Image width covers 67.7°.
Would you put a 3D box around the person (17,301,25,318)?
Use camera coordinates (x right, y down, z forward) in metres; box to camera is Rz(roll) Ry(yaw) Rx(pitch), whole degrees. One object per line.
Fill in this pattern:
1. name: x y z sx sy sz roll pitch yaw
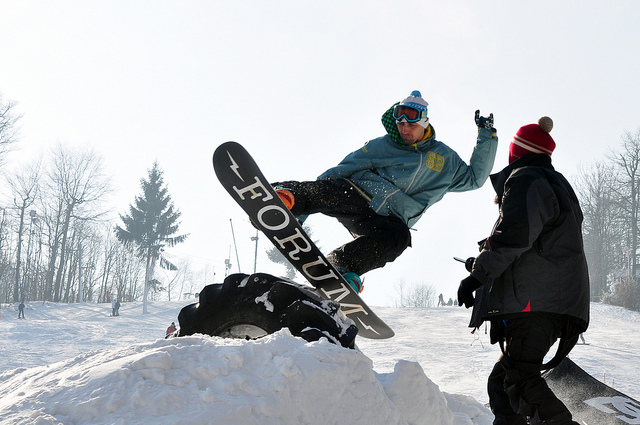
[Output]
1. person: -14.929 4.941 23.877 0.252 0.970 0.142 11 9 21

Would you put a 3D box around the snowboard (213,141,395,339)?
1. snowboard: -0.086 0.294 4.155 0.352 2.652 0.212 -45 -2 15

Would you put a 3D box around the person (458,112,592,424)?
1. person: 1.648 0.537 3.853 0.897 2.366 0.715 -2 -1 29
